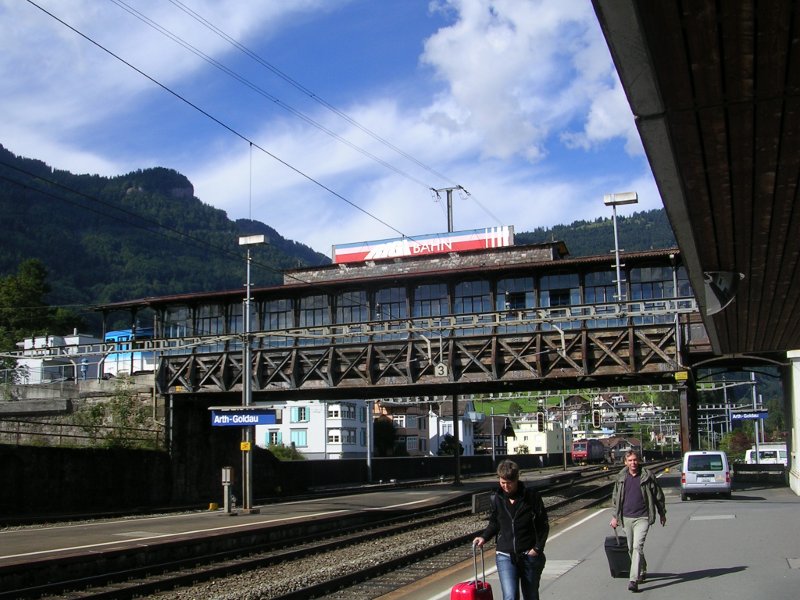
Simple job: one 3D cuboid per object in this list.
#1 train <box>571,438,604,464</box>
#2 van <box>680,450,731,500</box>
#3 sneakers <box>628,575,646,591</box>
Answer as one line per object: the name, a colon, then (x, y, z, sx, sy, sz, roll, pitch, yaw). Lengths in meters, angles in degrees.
train: (21.779, 17.802, 118.287, 1.883, 2.629, 7.712, -2, -6, 20)
van: (11.470, 6.477, 37.819, 1.270, 1.284, 2.381, -2, -2, 16)
sneakers: (4.965, 5.937, 21.115, 0.183, 0.269, 0.638, 0, -3, 21)
